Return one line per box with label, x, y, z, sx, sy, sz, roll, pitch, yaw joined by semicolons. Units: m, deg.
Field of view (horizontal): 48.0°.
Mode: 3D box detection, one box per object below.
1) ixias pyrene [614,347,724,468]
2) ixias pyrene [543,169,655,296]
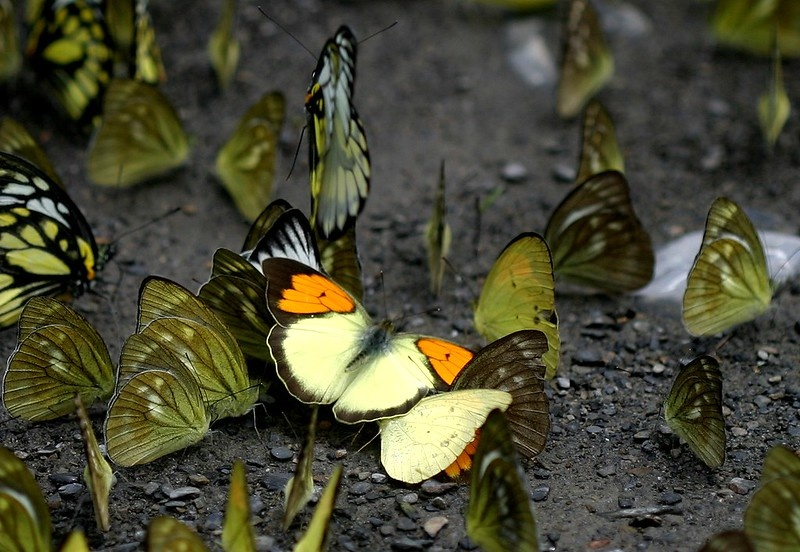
ixias pyrene;1.452;0.676;4.628;0.623;0.358;0.560;4;103;16
ixias pyrene;1.207;-0.268;5.804;0.770;0.749;0.535;43;37;-24
